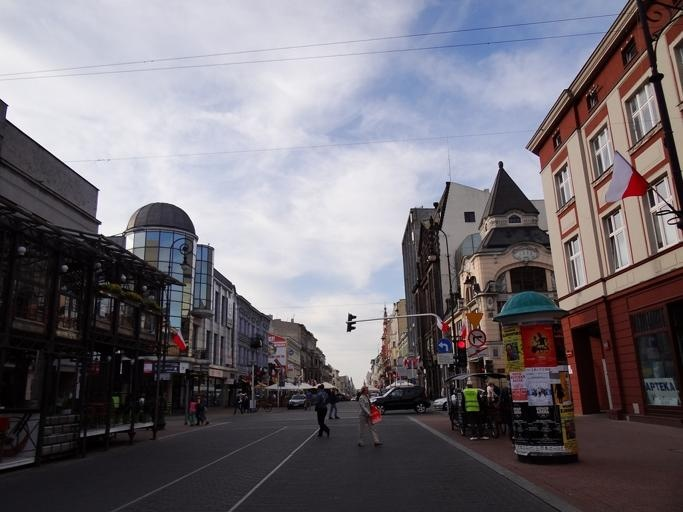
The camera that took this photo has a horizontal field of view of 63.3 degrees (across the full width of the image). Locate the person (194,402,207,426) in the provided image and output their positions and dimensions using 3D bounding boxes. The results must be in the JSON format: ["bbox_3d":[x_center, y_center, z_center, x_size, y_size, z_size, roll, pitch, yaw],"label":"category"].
[{"bbox_3d":[-8.354,9.347,33.066,0.696,1.483,2.379,2,-21,-11],"label":"person"}]

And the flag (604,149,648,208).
[{"bbox_3d":[7.502,-2.114,14.754,1.069,1.381,0.601,4,-19,-15],"label":"flag"}]

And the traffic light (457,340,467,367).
[{"bbox_3d":[5.305,4.219,24.511,0.389,1.219,0.532,-5,-19,9],"label":"traffic light"}]

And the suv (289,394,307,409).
[{"bbox_3d":[-4.474,14.780,56.296,1.489,1.498,2.346,-2,-20,2],"label":"suv"}]
